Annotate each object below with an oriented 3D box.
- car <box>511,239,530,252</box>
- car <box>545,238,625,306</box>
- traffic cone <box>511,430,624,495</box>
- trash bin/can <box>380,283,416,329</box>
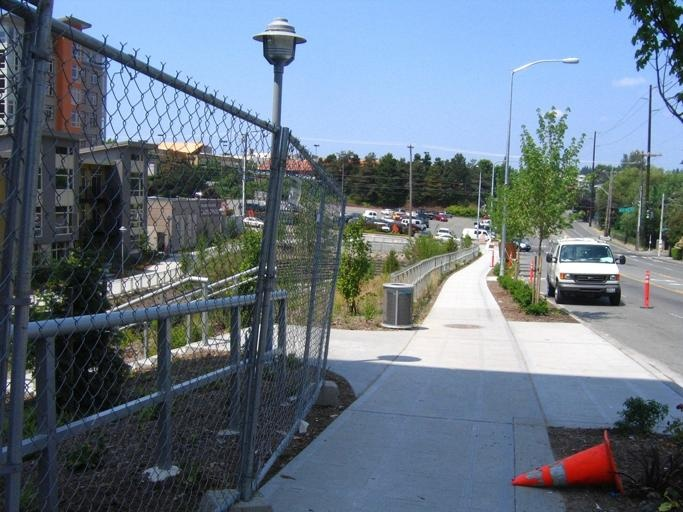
[{"bbox_3d":[13.460,-0.850,46.122,1.144,1.268,2.284,-1,-3,5],"label":"car"},{"bbox_3d":[7.629,0.357,20.016,1.520,1.542,3.014,0,-3,4],"label":"car"},{"bbox_3d":[1.822,1.705,4.872,0.580,0.459,0.578,-9,4,2],"label":"traffic cone"},{"bbox_3d":[1.251,0.986,13.366,0.711,1.022,0.846,4,16,13],"label":"trash bin/can"}]
